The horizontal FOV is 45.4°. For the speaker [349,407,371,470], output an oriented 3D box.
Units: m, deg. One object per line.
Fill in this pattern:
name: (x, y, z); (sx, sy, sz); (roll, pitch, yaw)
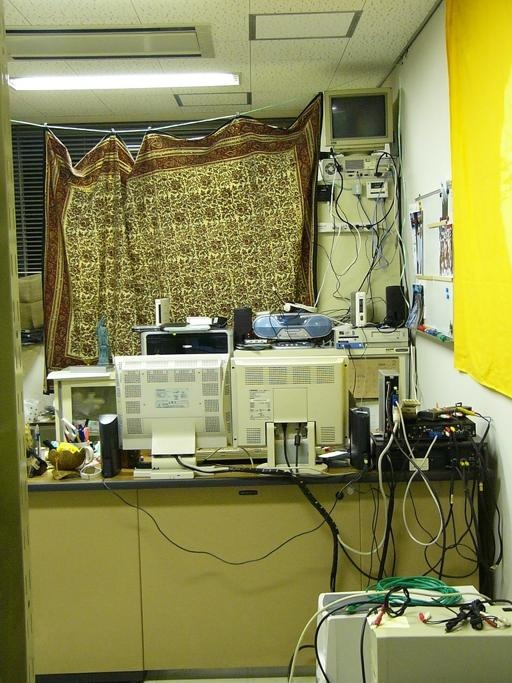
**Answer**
speaker: (0.373, 0.354, 2.216); (0.082, 0.235, 0.195); (0, 7, 2)

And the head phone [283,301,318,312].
head phone: (0.279, -0.218, 3.971); (0.194, 0.071, 0.234); (-2, 0, 6)

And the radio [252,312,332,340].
radio: (0.220, -0.094, 3.813); (0.469, 0.166, 0.097); (-2, 0, -6)

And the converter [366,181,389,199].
converter: (0.806, -0.975, 4.096); (0.165, 0.149, 0.097); (1, 6, 13)

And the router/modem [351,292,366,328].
router/modem: (0.623, -0.190, 3.766); (0.077, 0.143, 0.220); (0, 0, 1)

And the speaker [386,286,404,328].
speaker: (0.853, -0.214, 3.782); (0.129, 0.253, 0.206); (-2, 0, 14)

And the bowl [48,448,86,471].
bowl: (-0.705, 0.427, 2.276); (0.087, 0.064, 0.098); (-1, -6, 19)

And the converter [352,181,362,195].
converter: (0.668, -1.018, 4.068); (0.062, 0.120, 0.090); (1, -2, -1)

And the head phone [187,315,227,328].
head phone: (-0.331, -0.125, 4.037); (0.255, 0.075, 0.164); (-2, 0, -11)

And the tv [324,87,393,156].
tv: (0.654, -1.408, 3.897); (0.447, 0.366, 0.132); (4, 11, 3)

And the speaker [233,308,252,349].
speaker: (-0.092, -0.097, 4.028); (0.128, 0.261, 0.325); (-2, 0, -2)
